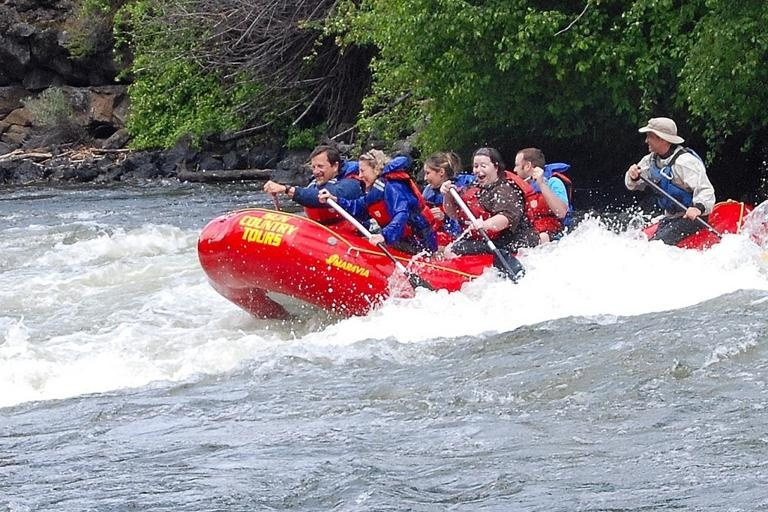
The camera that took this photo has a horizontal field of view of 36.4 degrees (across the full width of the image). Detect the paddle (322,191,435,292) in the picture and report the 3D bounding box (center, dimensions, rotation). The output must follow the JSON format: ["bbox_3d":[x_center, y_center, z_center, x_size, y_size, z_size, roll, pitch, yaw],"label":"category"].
[{"bbox_3d":[-0.109,-0.196,15.497,2.007,0.222,0.169,36,50,9],"label":"paddle"}]

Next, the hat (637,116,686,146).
[{"bbox_3d":[3.921,-1.691,16.383,0.526,0.182,0.503,6,10,-42],"label":"hat"}]
